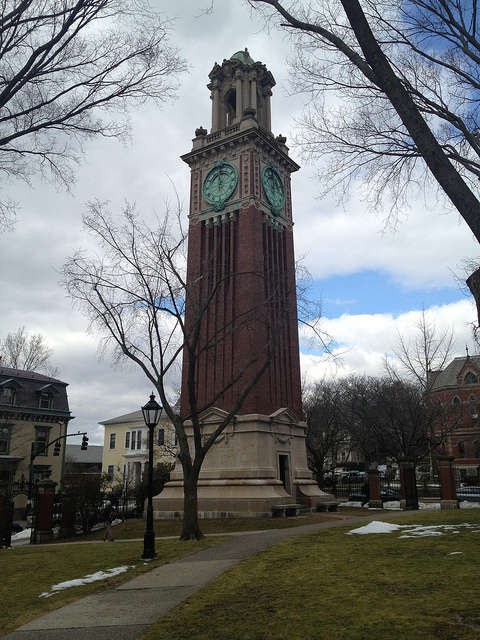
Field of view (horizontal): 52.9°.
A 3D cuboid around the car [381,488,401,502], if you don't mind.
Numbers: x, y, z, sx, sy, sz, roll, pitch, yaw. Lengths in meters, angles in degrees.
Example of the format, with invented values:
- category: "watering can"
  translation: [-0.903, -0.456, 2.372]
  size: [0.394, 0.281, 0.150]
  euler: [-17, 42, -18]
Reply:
- category: "car"
  translation: [11.135, 12.825, 35.651]
  size: [1.297, 0.662, 2.342]
  euler: [-7, -14, 12]
